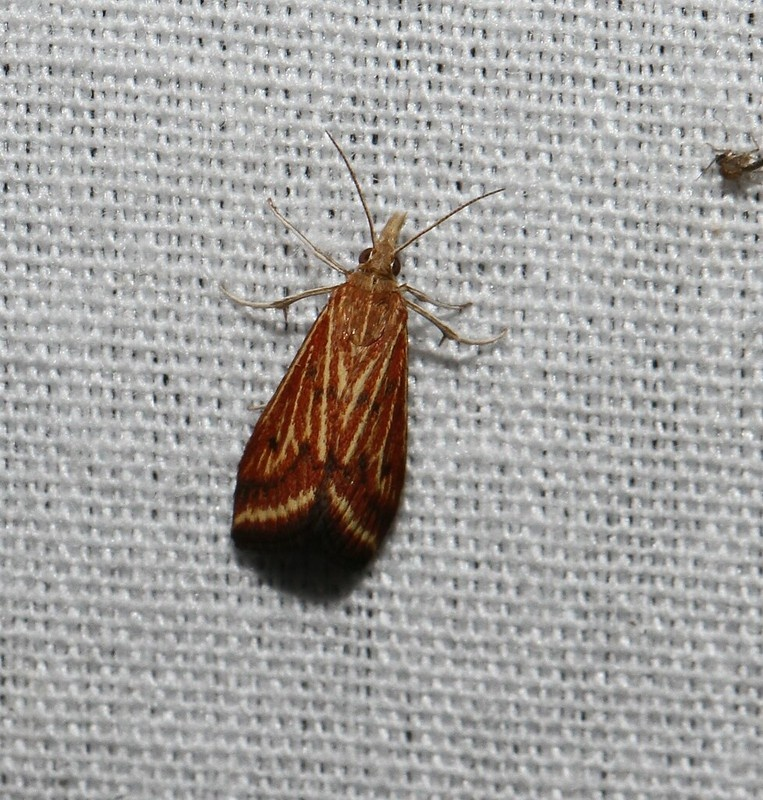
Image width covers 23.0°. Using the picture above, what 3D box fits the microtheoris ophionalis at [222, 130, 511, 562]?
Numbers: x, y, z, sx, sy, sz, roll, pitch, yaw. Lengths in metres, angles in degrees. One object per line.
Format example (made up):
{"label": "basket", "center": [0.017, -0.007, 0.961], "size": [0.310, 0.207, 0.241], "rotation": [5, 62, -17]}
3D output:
{"label": "microtheoris ophionalis", "center": [-0.064, -0.223, 4.409], "size": [0.725, 0.254, 1.290], "rotation": [1, 52, 20]}
